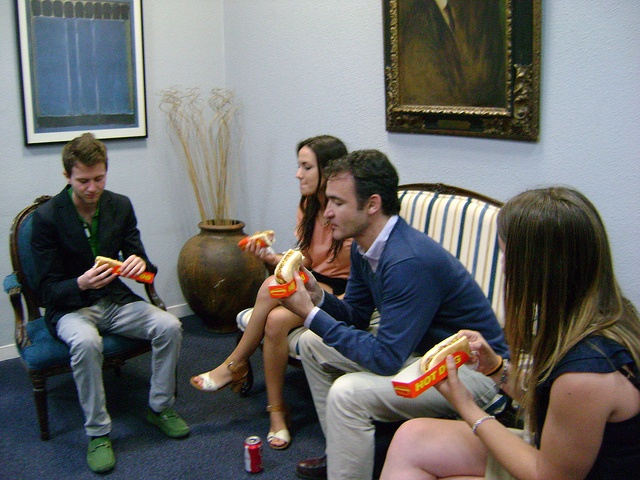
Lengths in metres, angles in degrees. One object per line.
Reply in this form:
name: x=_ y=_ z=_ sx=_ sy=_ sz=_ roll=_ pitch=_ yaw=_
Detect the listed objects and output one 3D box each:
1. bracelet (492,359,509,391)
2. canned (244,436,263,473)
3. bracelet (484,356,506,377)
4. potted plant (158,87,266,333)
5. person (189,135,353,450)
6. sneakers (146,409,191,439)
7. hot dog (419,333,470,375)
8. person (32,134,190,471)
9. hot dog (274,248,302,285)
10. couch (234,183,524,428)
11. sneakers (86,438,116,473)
bracelet: x=0.649 y=0.477 z=1.792 sx=0.033 sy=0.099 sz=0.088 roll=8 pitch=-16 yaw=14
canned: x=-0.317 y=0.996 z=2.360 sx=0.086 sy=0.161 sz=0.113 roll=-5 pitch=17 yaw=-10
bracelet: x=0.610 y=0.451 z=1.771 sx=0.026 sy=0.070 sz=0.062 roll=20 pitch=27 yaw=4
potted plant: x=-0.845 y=-0.242 z=3.857 sx=0.704 sy=1.726 sz=0.630 roll=-6 pitch=11 yaw=-17
person: x=-0.216 y=0.274 z=2.797 sx=0.978 sy=1.635 sz=0.563 roll=-6 pitch=12 yaw=-34
sneakers: x=-0.794 y=0.957 z=2.686 sx=0.271 sy=0.113 sz=0.100 roll=15 pitch=21 yaw=31
hot dog: x=0.390 y=0.358 z=1.612 sx=0.042 sy=0.133 sz=0.102 roll=50 pitch=34 yaw=9
person: x=-1.061 y=0.378 z=2.586 sx=0.600 sy=1.261 sz=0.752 roll=-12 pitch=19 yaw=-30
hot dog: x=-0.133 y=0.100 z=2.080 sx=0.082 sy=0.051 sz=0.149 roll=4 pitch=40 yaw=19
couch: x=0.273 y=0.215 z=2.764 sx=0.994 sy=1.217 sz=1.010 roll=-5 pitch=15 yaw=-38
sneakers: x=-1.039 y=1.020 z=2.397 sx=0.083 sy=0.083 sz=0.207 roll=-4 pitch=15 yaw=-28
